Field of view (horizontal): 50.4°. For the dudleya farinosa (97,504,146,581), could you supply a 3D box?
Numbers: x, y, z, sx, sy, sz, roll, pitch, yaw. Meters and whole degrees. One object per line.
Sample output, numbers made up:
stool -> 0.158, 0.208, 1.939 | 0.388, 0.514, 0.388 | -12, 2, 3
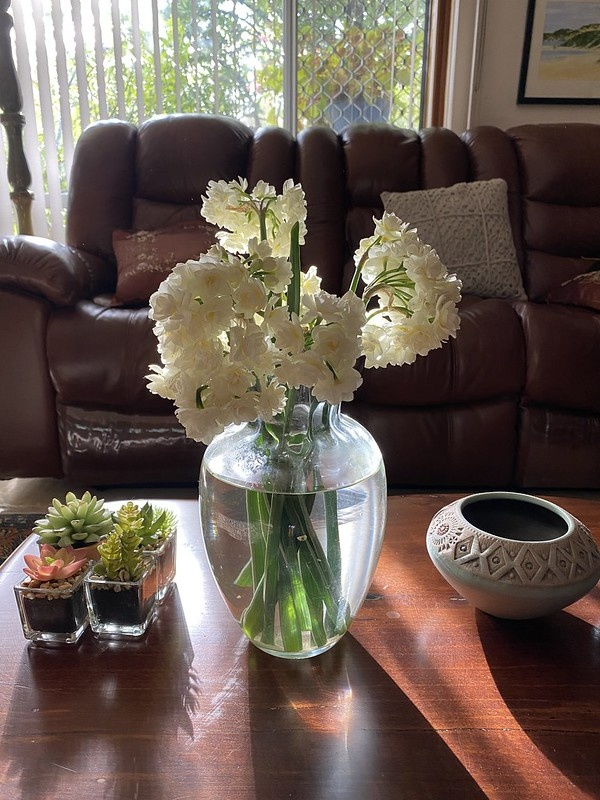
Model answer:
dudleya farinosa -> -0.185, 0.148, 0.675 | 0.050, 0.070, 0.048 | 1, 16, -2

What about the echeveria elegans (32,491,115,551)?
echeveria elegans -> -0.271, 0.136, 0.764 | 0.077, 0.041, 0.075 | 1, -1, -35

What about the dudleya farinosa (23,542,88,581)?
dudleya farinosa -> -0.263, 0.167, 0.712 | 0.070, 0.036, 0.061 | -1, 17, -5
